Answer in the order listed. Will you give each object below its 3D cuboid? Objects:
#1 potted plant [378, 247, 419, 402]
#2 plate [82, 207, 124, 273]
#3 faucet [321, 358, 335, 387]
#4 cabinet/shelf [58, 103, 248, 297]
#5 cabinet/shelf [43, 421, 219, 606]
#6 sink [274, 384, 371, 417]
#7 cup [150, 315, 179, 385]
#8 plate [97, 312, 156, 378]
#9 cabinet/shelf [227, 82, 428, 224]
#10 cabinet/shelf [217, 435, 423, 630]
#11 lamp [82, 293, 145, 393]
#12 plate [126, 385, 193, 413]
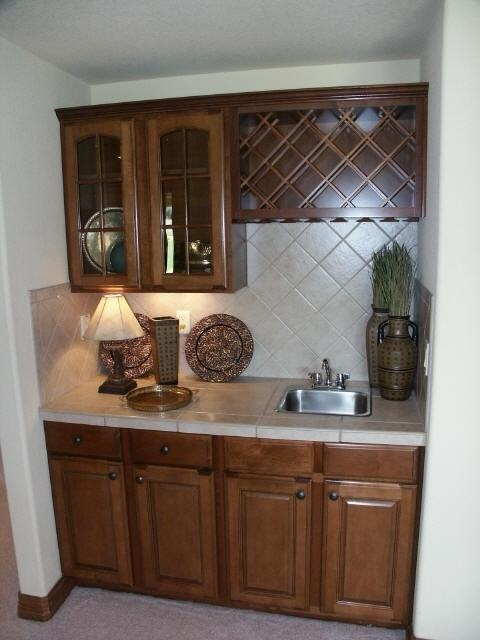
[{"bbox_3d":[0.661,0.000,2.329,0.160,0.628,0.329,1,13,14],"label":"potted plant"},{"bbox_3d":[-0.589,-0.346,2.355,0.250,0.253,0.044,7,16,8],"label":"plate"},{"bbox_3d":[0.403,0.230,2.532,0.055,0.114,0.155,0,12,9],"label":"faucet"},{"bbox_3d":[-0.351,-0.525,2.298,0.838,0.777,0.313,0,7,7],"label":"cabinet/shelf"},{"bbox_3d":[-0.364,0.790,2.423,0.820,0.758,0.387,-2,6,24],"label":"cabinet/shelf"},{"bbox_3d":[0.355,0.383,2.312,0.369,0.124,0.359,1,12,13],"label":"sink"},{"bbox_3d":[-0.335,0.143,2.501,0.123,0.307,0.124,-2,13,0],"label":"cup"},{"bbox_3d":[-0.512,0.117,2.653,0.314,0.302,0.041,4,7,6],"label":"plate"},{"bbox_3d":[0.356,-0.653,2.266,0.752,0.503,0.327,1,13,13],"label":"cabinet/shelf"},{"bbox_3d":[0.318,0.763,2.062,0.807,0.717,0.331,0,5,11],"label":"cabinet/shelf"},{"bbox_3d":[-0.554,0.110,2.498,0.269,0.442,0.278,6,12,40],"label":"lamp"},{"bbox_3d":[-0.337,0.332,2.340,0.269,0.053,0.308,-6,13,-21],"label":"plate"}]
